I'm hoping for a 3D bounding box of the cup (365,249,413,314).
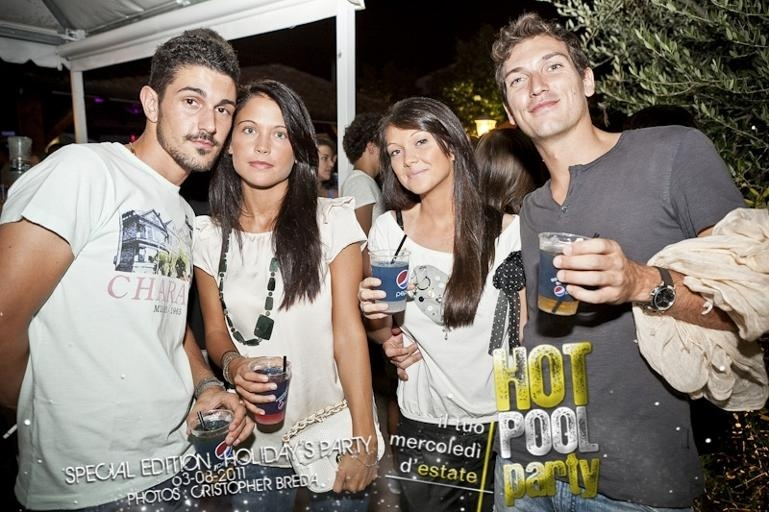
[{"bbox_3d":[0.003,0.133,3.214,0.321,0.446,0.344,-2,6,0],"label":"cup"}]

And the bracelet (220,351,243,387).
[{"bbox_3d":[-0.914,0.672,3.048,0.068,0.175,0.159,-2,-42,-4],"label":"bracelet"}]

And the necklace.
[{"bbox_3d":[-0.801,0.165,3.175,0.481,0.840,0.192,-3,-9,-3],"label":"necklace"}]

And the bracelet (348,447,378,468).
[{"bbox_3d":[-0.119,1.172,3.061,0.144,0.052,0.111,25,12,5],"label":"bracelet"}]
